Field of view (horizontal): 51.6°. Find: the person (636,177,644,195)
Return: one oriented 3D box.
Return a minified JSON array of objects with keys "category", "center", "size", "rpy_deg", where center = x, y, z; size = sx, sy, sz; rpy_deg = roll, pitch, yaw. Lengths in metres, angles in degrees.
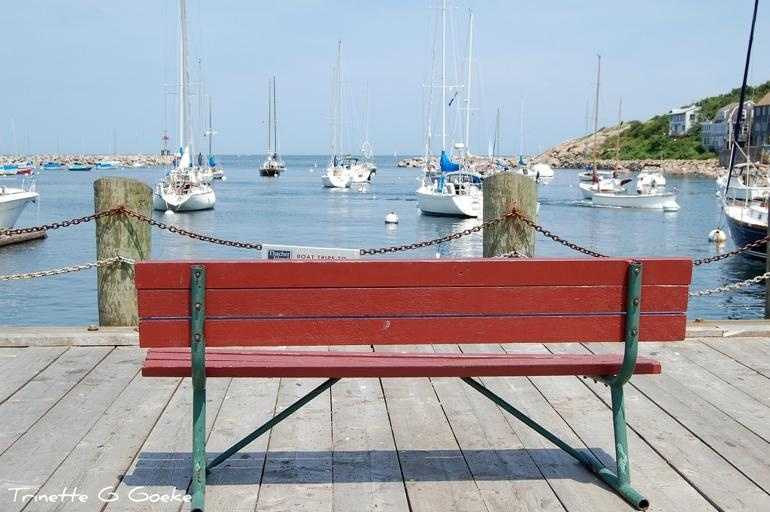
[{"category":"person","center":[16.046,-4.345,49.847],"size":[0.331,0.821,0.955],"rpy_deg":[2,11,18]}]
